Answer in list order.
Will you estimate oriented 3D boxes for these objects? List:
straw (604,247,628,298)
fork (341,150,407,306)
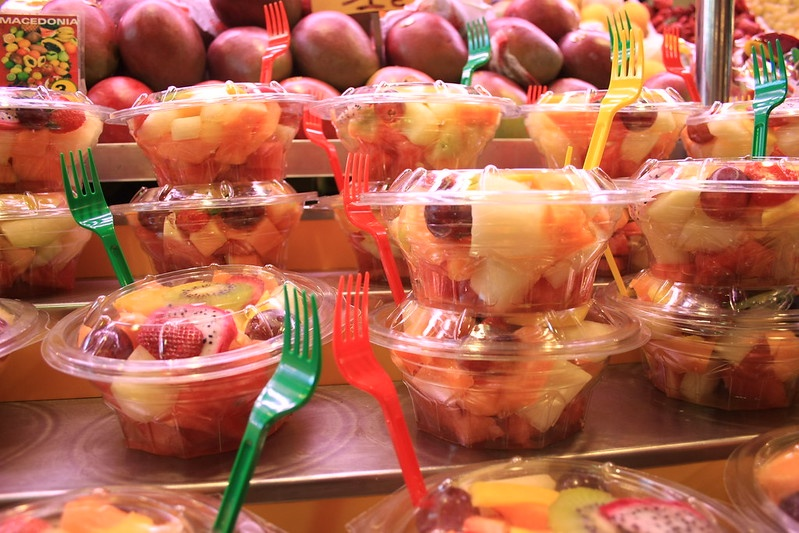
[{"bbox_3d":[0.509,0.012,1.391,0.019,0.133,0.019,-25,26,7],"label":"straw"},{"bbox_3d":[-0.078,-0.104,1.291,0.079,0.557,0.083,12,-27,-43],"label":"fork"}]
